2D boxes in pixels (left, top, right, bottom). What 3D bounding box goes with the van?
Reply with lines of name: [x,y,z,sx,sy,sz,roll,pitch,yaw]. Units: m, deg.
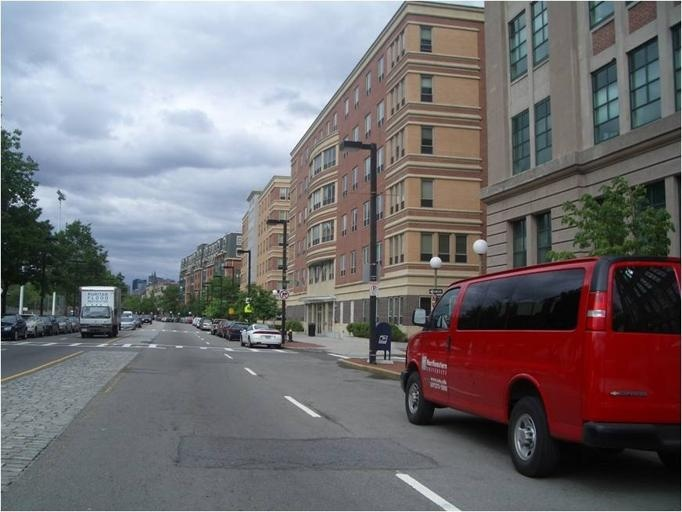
van: [2.676,1.725,9.181,1.496,2.896,5.332,4,-10,-23]

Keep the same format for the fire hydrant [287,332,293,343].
fire hydrant: [-3.893,5.992,43.466,0.230,0.750,1.376,2,-9,-11]

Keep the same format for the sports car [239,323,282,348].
sports car: [-4.808,4.726,34.692,1.750,1.463,2.997,4,-10,-23]

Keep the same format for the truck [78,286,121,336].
truck: [-16.788,3.660,39.772,2.261,4.236,2.437,2,-1,-12]
